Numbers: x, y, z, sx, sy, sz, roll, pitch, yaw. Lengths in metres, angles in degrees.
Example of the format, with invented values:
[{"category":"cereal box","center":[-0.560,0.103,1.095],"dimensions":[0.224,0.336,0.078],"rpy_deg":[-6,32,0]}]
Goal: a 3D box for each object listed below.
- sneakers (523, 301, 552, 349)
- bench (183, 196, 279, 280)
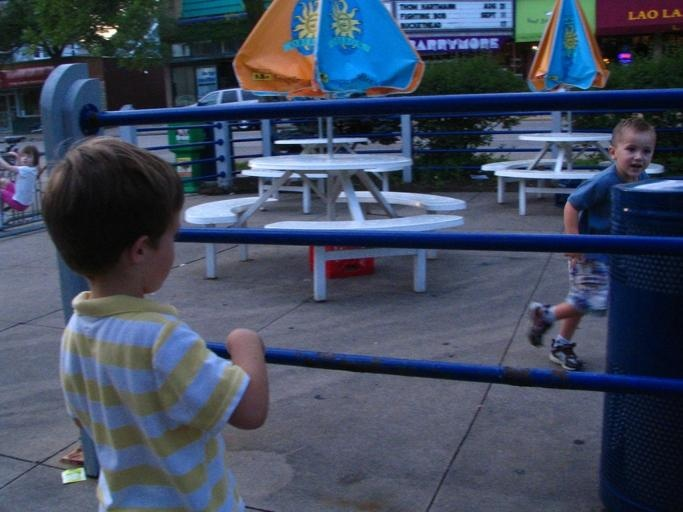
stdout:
[{"category":"sneakers","center":[1.100,0.384,3.956],"dimensions":[0.137,0.269,0.177],"rpy_deg":[-1,16,10]},{"category":"bench","center":[-0.873,-0.105,5.667],"dimensions":[0.624,0.402,1.046],"rpy_deg":[2,12,7]}]
